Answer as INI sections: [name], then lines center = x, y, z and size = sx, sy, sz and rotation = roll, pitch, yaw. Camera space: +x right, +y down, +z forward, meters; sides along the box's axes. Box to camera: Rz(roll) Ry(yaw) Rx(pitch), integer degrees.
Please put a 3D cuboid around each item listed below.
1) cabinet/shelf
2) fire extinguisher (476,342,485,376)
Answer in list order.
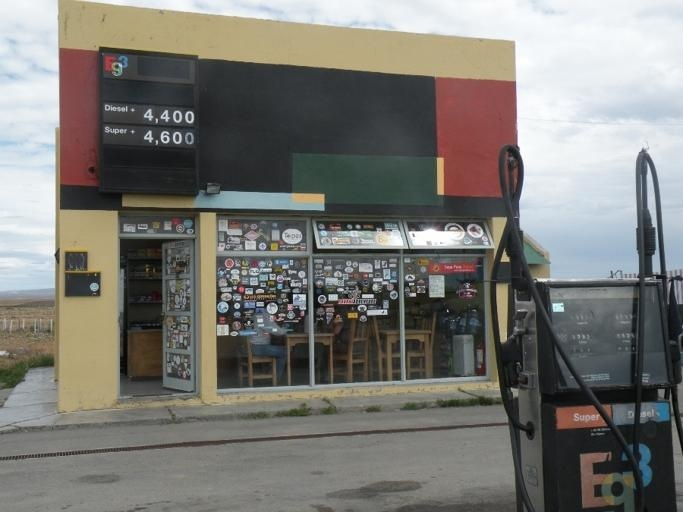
[cabinet/shelf]
center = -4.824, 1.205, 16.967
size = 0.930, 3.117, 2.702
rotation = -1, -2, -15
[fire extinguisher]
center = 2.882, 2.172, 14.563
size = 0.199, 0.652, 0.070
rotation = -1, -1, 1
